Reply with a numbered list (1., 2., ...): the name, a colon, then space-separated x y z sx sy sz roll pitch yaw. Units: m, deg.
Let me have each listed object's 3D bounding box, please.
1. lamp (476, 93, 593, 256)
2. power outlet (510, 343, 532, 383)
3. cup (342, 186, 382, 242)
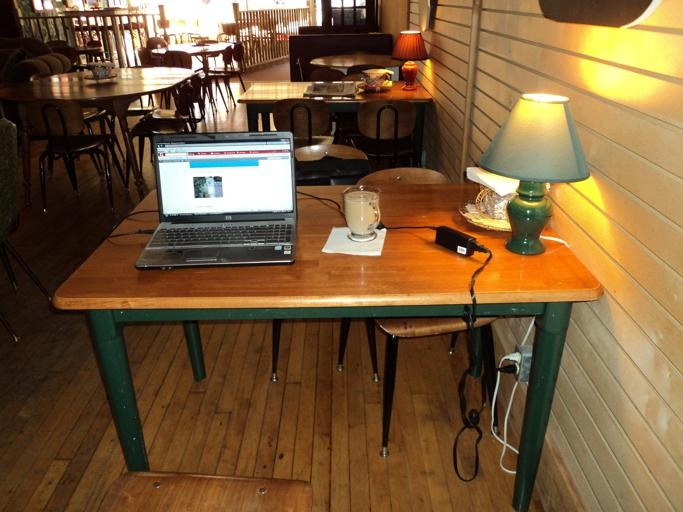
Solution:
1. lamp: 0.594 -0.247 1.605 0.315 0.481 0.239 4 28 14
2. power outlet: 0.636 0.383 1.743 0.068 0.128 0.091 2 -12 10
3. cup: 0.087 -0.131 1.747 0.107 0.154 0.156 -10 19 -33
